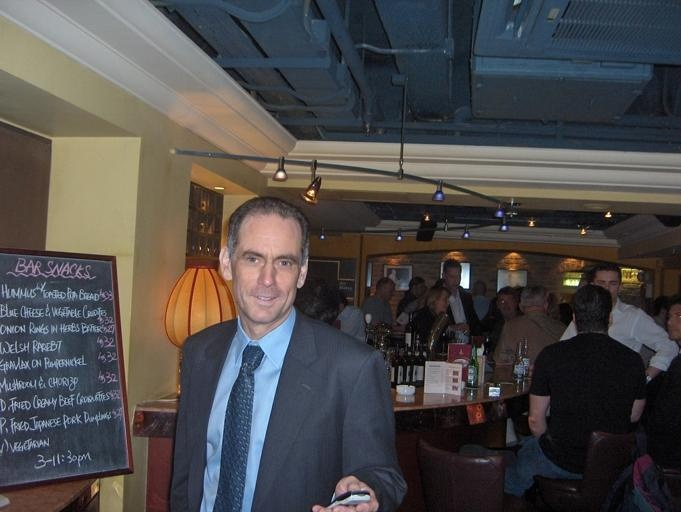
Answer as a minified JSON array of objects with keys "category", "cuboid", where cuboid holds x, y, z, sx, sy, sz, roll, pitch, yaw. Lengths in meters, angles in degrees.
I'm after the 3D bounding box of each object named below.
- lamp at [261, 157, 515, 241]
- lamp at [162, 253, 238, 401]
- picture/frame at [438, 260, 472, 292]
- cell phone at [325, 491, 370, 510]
[{"category":"lamp","cuboid":[0.150,-0.531,4.083,2.432,0.357,0.201,9,-33,-3]},{"category":"lamp","cuboid":[-0.914,0.460,3.592,0.487,0.905,0.497,0,-1,9]},{"category":"picture/frame","cuboid":[1.684,0.280,7.905,0.596,0.624,0.026,2,-7,-8]},{"category":"cell phone","cuboid":[0.026,0.704,1.563,0.111,0.043,0.064,0,-4,17]}]
